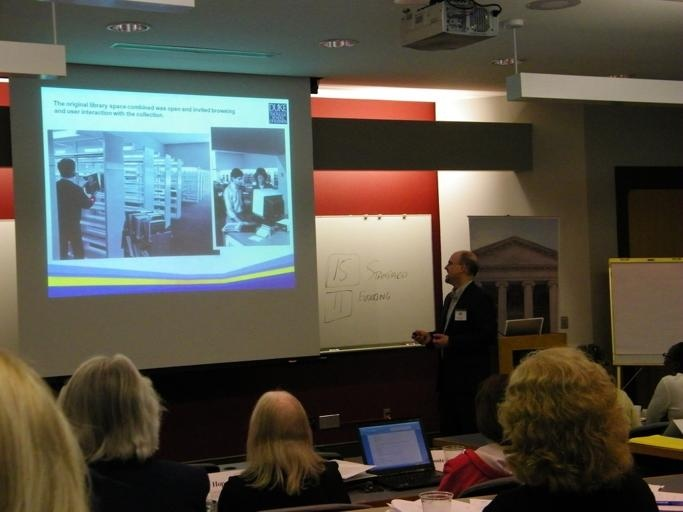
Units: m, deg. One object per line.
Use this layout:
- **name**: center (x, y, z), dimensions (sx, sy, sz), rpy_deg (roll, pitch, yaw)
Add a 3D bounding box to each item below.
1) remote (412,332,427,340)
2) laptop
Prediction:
- **remote**: center (0.622, 0.624, 5.001), dimensions (0.077, 0.028, 0.079), rpy_deg (-5, 4, -20)
- **laptop**: center (0.309, 0.955, 3.075), dimensions (0.300, 0.258, 0.178), rpy_deg (0, -19, -15)
